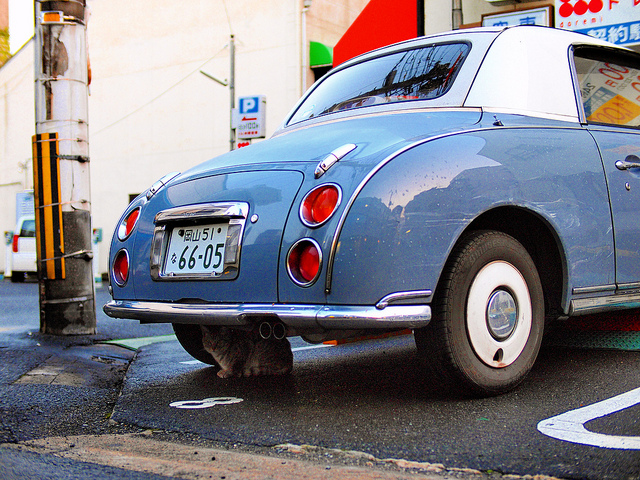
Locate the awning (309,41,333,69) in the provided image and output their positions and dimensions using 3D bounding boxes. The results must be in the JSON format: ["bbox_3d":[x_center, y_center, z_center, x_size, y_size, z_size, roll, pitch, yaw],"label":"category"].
[{"bbox_3d":[0.046,-5.649,20.120,0.656,0.851,0.812,-1,4,6],"label":"awning"}]

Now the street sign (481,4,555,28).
[{"bbox_3d":[3.796,-4.323,12.791,1.302,0.502,0.614,0,4,22],"label":"street sign"}]

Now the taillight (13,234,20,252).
[{"bbox_3d":[-7.985,0.058,17.621,0.202,0.457,0.139,1,5,34],"label":"taillight"}]

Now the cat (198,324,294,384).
[{"bbox_3d":[-0.498,0.830,4.728,0.843,0.441,0.305,9,-20,-19],"label":"cat"}]

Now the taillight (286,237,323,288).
[{"bbox_3d":[-0.080,0.117,3.608,0.211,0.270,0.056,1,5,32],"label":"taillight"}]

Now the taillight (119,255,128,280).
[{"bbox_3d":[-1.279,0.172,4.371,0.026,0.129,0.127,7,-16,-41],"label":"taillight"}]

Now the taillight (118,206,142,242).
[{"bbox_3d":[-1.252,-0.113,4.425,0.218,0.233,0.125,2,5,39],"label":"taillight"}]

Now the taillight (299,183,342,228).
[{"bbox_3d":[0.006,-0.195,3.624,0.235,0.240,0.110,-1,4,5],"label":"taillight"}]

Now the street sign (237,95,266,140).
[{"bbox_3d":[-1.659,-3.015,16.109,0.738,1.052,0.313,0,4,23],"label":"street sign"}]

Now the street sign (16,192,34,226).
[{"bbox_3d":[-8.691,-1.074,19.780,0.400,0.750,2.086,-3,4,-26],"label":"street sign"}]
